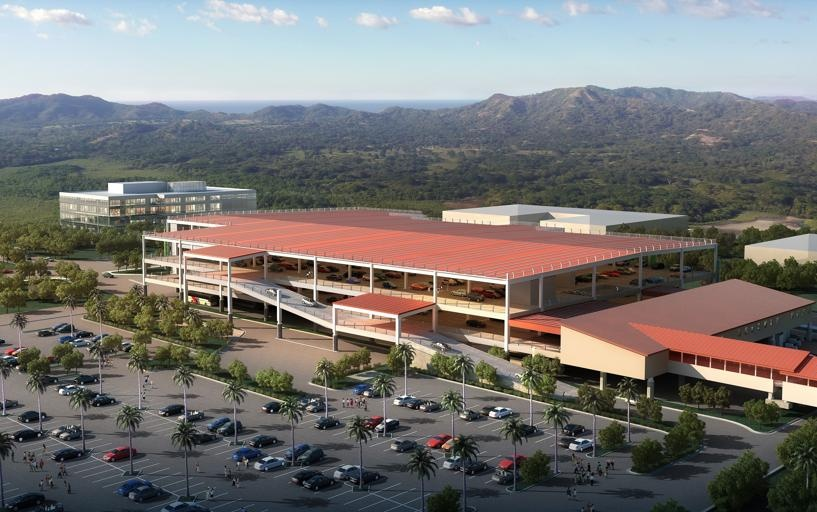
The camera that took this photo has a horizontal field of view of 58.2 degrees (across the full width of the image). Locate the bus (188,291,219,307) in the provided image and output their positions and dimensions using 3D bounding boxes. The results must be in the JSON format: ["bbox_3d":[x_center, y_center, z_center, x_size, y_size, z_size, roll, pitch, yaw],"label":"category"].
[{"bbox_3d":[-33.684,6.995,119.536,5.684,2.159,1.428,4,10,37],"label":"bus"}]
